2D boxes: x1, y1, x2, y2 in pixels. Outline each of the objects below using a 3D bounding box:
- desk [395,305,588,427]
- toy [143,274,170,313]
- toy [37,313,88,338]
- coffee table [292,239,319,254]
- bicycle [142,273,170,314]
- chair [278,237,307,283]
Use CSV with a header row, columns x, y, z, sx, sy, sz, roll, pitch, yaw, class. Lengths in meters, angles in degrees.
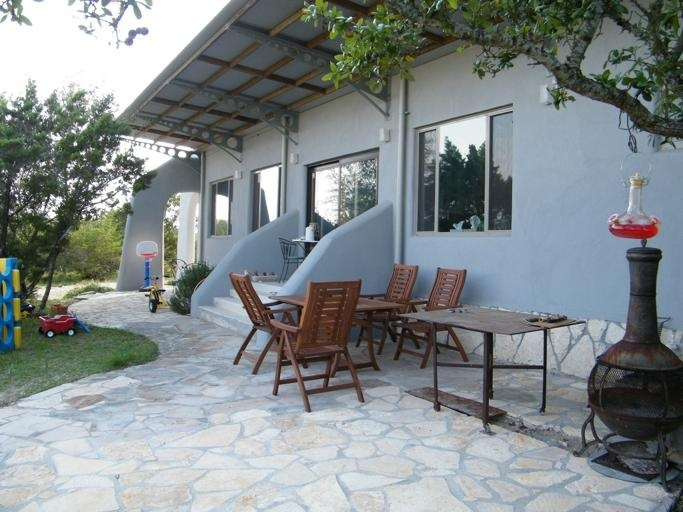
x,y,z,sx,sy,sz,roll,pitch,yaw,class
1.534,0.829,4.556,1.227,1.130,1.631,0,1,-27,desk
-4.401,0.915,11.087,0.866,0.834,1.357,2,1,-25,toy
-4.787,1.169,7.688,0.712,0.290,0.420,1,0,-33,toy
-0.843,-0.241,9.996,0.489,0.444,0.473,0,2,-33,coffee table
-4.412,0.889,11.136,0.926,0.888,1.463,1,2,-26,bicycle
-1.189,0.085,10.467,0.876,1.209,1.015,-1,1,-5,chair
